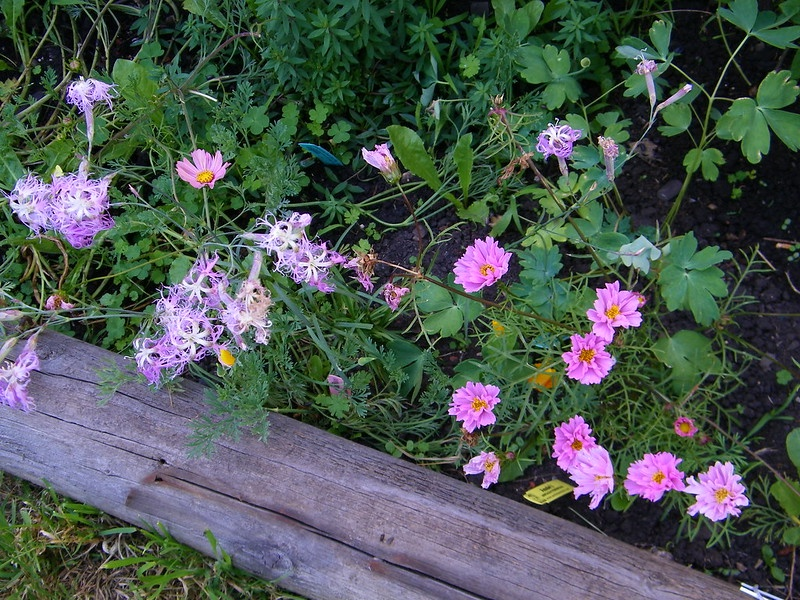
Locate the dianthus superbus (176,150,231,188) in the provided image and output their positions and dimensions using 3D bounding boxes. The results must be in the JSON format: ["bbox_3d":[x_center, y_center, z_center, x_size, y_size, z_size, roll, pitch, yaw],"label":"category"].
[{"bbox_3d":[-0.630,-0.428,1.996,0.143,0.156,0.070,-9,89,-21],"label":"dianthus superbus"}]

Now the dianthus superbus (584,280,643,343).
[{"bbox_3d":[0.631,0.022,1.852,0.157,0.149,0.065,-29,105,-26],"label":"dianthus superbus"}]

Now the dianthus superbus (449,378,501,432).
[{"bbox_3d":[0.251,0.315,1.919,0.188,0.191,0.076,-7,108,-8],"label":"dianthus superbus"}]

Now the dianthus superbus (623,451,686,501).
[{"bbox_3d":[0.743,0.519,1.811,0.152,0.064,0.157,-42,61,19],"label":"dianthus superbus"}]

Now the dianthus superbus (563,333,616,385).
[{"bbox_3d":[0.560,0.169,1.825,0.136,0.057,0.157,29,97,3],"label":"dianthus superbus"}]

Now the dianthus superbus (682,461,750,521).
[{"bbox_3d":[0.930,0.551,1.791,0.179,0.183,0.077,-23,77,30],"label":"dianthus superbus"}]
